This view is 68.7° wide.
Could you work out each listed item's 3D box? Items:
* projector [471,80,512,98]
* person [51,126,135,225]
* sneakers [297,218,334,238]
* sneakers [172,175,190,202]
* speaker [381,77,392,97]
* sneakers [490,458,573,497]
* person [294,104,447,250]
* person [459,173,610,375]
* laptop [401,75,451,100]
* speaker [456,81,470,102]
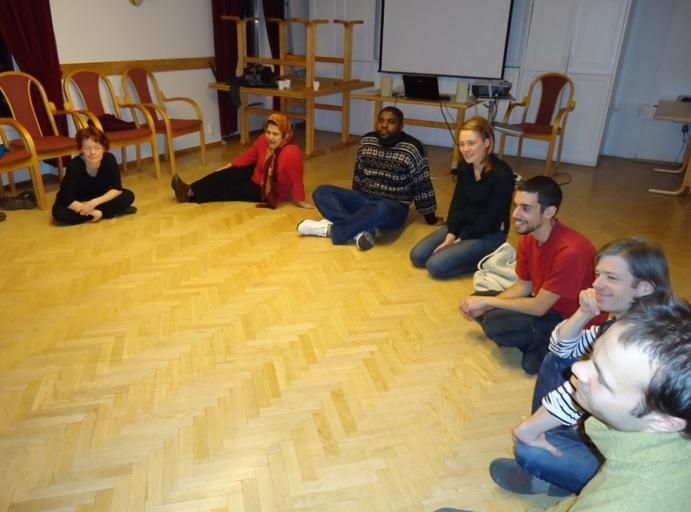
[{"bbox_3d":[1.766,-2.067,6.261,0.456,0.218,0.506,2,25,2],"label":"projector"},{"bbox_3d":[-2.336,-0.737,4.622,0.797,0.860,0.586,-17,52,-37],"label":"person"},{"bbox_3d":[-0.266,-0.252,4.356,0.348,0.124,0.149,-3,33,-4],"label":"sneakers"},{"bbox_3d":[-1.644,-0.673,4.976,0.230,0.254,0.107,21,32,36],"label":"sneakers"},{"bbox_3d":[0.518,-2.075,6.190,0.158,0.208,0.131,-6,26,-15],"label":"speaker"},{"bbox_3d":[0.839,1.002,2.321,0.372,0.143,0.127,2,18,26],"label":"sneakers"},{"bbox_3d":[0.255,-0.688,4.264,0.839,1.133,0.921,15,20,31],"label":"person"},{"bbox_3d":[1.030,0.089,2.868,0.739,1.035,0.569,-1,14,11],"label":"person"},{"bbox_3d":[0.909,-2.037,5.961,0.502,0.332,0.353,15,39,31],"label":"laptop"},{"bbox_3d":[1.387,-1.960,6.020,0.144,0.212,0.277,6,26,10],"label":"speaker"}]
